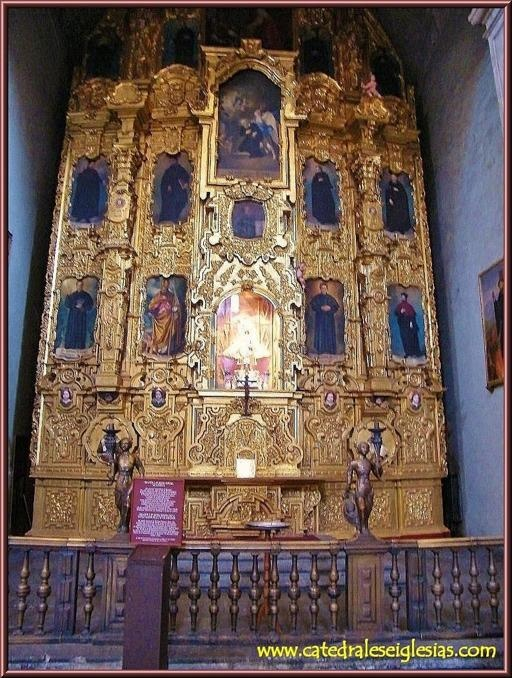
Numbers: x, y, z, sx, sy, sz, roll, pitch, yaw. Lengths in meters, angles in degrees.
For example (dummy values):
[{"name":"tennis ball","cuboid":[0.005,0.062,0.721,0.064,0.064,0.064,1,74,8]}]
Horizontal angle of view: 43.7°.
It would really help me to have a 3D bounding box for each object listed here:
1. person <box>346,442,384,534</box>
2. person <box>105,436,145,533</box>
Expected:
[{"name":"person","cuboid":[0.908,1.276,5.440,0.271,0.908,0.182,-2,14,6]},{"name":"person","cuboid":[-1.099,1.204,5.379,0.255,0.877,0.875,4,-19,-12]}]
